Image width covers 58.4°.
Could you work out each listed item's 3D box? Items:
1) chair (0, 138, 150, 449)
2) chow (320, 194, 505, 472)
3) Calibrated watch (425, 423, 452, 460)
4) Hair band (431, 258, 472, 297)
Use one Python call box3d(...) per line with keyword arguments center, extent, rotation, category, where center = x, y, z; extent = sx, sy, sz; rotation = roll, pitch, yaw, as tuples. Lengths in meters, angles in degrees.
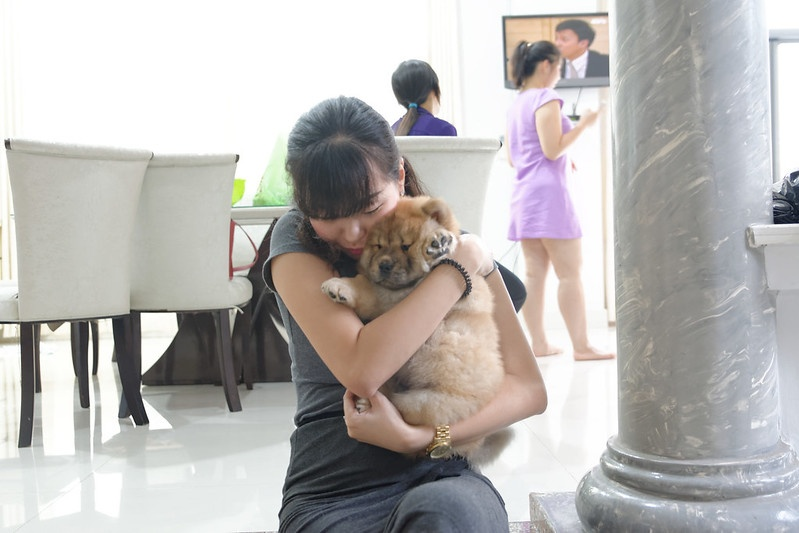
box3d(center=(-1.711, 0.105, 3.864), extent=(0.817, 1.584, 0.406), rotation=(-8, 13, -26), category="chair")
box3d(center=(0.129, 0.310, 2.752), extent=(0.529, 1.086, 0.471), rotation=(-10, 8, 24), category="chow")
box3d(center=(0.144, 0.614, 2.530), extent=(0.076, 0.110, 0.125), rotation=(9, -41, 7), category="Calibrated watch")
box3d(center=(0.193, 0.020, 2.551), extent=(0.119, 0.145, 0.048), rotation=(-17, 8, 33), category="Hair band")
